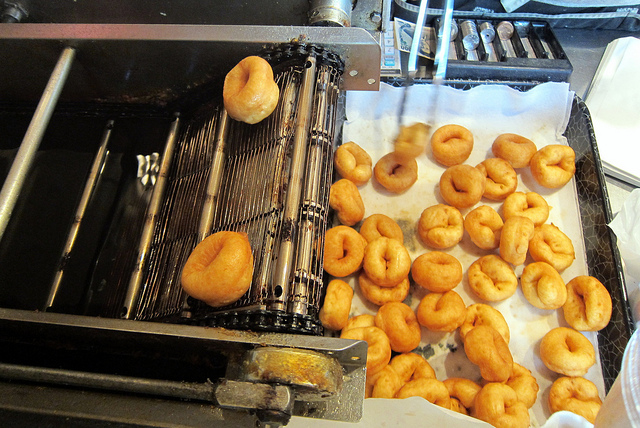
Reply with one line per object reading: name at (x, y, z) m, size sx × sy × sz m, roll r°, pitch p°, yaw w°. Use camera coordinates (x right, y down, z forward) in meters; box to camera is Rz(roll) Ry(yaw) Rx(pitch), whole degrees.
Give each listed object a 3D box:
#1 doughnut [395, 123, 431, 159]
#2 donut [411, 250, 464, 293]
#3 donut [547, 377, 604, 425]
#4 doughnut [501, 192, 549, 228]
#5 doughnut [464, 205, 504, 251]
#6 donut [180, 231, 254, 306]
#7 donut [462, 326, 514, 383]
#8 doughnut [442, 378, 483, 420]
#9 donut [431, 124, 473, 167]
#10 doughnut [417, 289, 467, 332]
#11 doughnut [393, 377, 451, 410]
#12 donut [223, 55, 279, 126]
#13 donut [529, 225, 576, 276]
doughnut at (0.453, -0.369, 2.217) m, size 0.165 × 0.161 × 0.084 m, roll 13°, pitch 10°, yaw 29°
donut at (0.648, 0.316, 2.481) m, size 0.246 × 0.127 × 0.234 m, roll -6°, pitch 36°, yaw -8°
donut at (1.302, 0.941, 2.311) m, size 0.236 × 0.159 × 0.149 m, roll 12°, pitch 10°, yaw 23°
doughnut at (1.220, -0.048, 2.668) m, size 0.228 × 0.216 × 0.085 m, roll -7°, pitch -37°, yaw -3°
doughnut at (0.944, 0.092, 2.682) m, size 0.201 × 0.243 × 0.094 m, roll -25°, pitch -6°, yaw -15°
donut at (-0.462, 0.248, 2.064) m, size 0.318 × 0.332 × 0.195 m, roll 7°, pitch 9°, yaw -5°
donut at (0.869, 0.717, 2.325) m, size 0.254 × 0.254 × 0.154 m, roll 12°, pitch 10°, yaw 26°
doughnut at (0.756, 0.935, 2.348) m, size 0.175 × 0.059 × 0.177 m, roll -20°, pitch -21°, yaw 14°
donut at (0.816, -0.433, 2.875) m, size 0.249 × 0.255 × 0.148 m, roll -30°, pitch -26°, yaw -7°
doughnut at (0.654, 0.519, 2.420) m, size 0.230 × 0.234 × 0.092 m, roll 14°, pitch -30°, yaw 22°
doughnut at (0.524, 0.877, 2.239) m, size 0.297 × 0.135 × 0.099 m, roll 6°, pitch 9°, yaw -13°
donut at (-0.360, -0.675, 2.354) m, size 0.363 × 0.375 × 0.143 m, roll 16°, pitch -10°, yaw 39°
donut at (1.347, 0.211, 2.622) m, size 0.289 × 0.103 × 0.290 m, roll 37°, pitch 46°, yaw -5°
